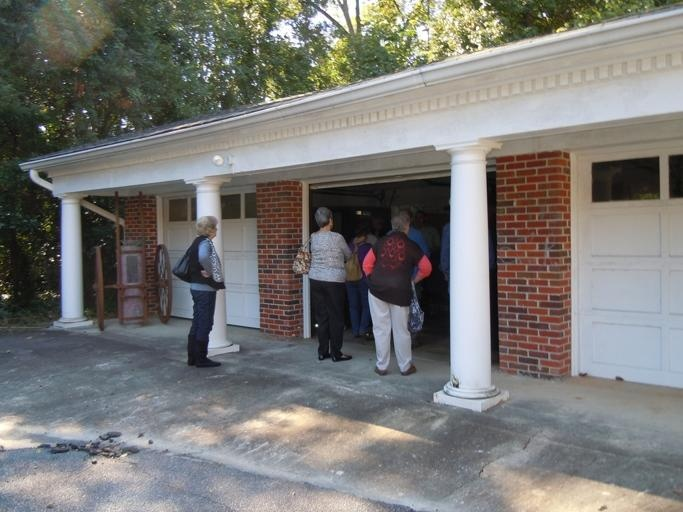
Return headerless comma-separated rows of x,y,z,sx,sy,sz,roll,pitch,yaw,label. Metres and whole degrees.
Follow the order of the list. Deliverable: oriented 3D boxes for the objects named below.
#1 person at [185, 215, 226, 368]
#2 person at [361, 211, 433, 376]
-1.875,0.490,7.682,0.635,1.903,0.695,0,0,-24,person
0.723,0.486,7.258,0.845,2.062,0.774,1,-1,19,person
